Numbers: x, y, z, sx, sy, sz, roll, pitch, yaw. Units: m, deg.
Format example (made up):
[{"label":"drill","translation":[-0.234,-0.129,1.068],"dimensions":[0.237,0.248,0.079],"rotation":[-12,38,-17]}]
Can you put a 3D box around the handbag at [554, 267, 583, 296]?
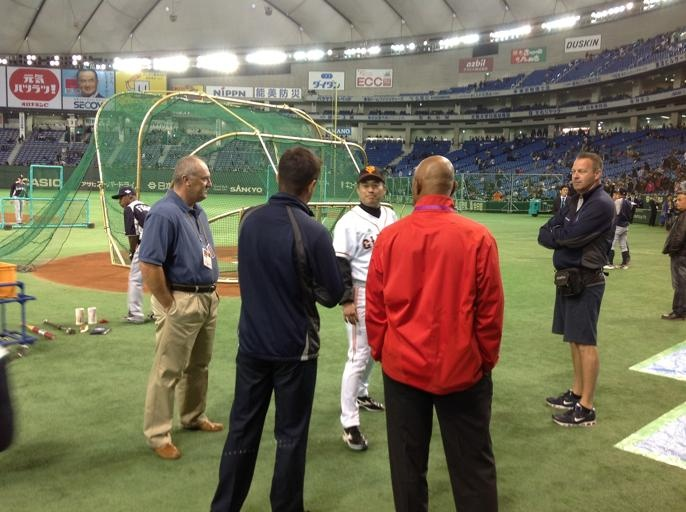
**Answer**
[{"label":"handbag","translation":[2.128,0.287,5.491],"dimensions":[0.231,0.291,0.297],"rotation":[3,-6,-30]}]

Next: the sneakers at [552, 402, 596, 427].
[{"label":"sneakers","translation":[2.231,1.578,5.567],"dimensions":[0.453,0.213,0.176],"rotation":[1,-7,1]}]

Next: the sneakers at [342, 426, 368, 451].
[{"label":"sneakers","translation":[0.113,1.650,5.085],"dimensions":[0.124,0.127,0.276],"rotation":[1,-6,-29]}]

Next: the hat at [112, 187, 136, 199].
[{"label":"hat","translation":[-3.135,-0.897,8.170],"dimensions":[0.386,0.207,0.242],"rotation":[-3,2,-19]}]

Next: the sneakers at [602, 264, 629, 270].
[{"label":"sneakers","translation":[5.735,0.260,11.950],"dimensions":[0.447,0.180,0.170],"rotation":[-2,1,5]}]

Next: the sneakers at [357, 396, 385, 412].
[{"label":"sneakers","translation":[0.283,1.523,5.774],"dimensions":[0.272,0.125,0.119],"rotation":[1,-4,1]}]

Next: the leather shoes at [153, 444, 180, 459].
[{"label":"leather shoes","translation":[-1.518,1.684,4.894],"dimensions":[0.218,0.092,0.116],"rotation":[-2,2,12]}]

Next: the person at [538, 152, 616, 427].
[{"label":"person","translation":[2.255,0.312,5.549],"dimensions":[0.701,2.537,0.896],"rotation":[4,15,14]}]

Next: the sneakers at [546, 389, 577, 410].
[{"label":"sneakers","translation":[2.223,1.484,5.762],"dimensions":[0.326,0.145,0.123],"rotation":[-3,-5,35]}]
